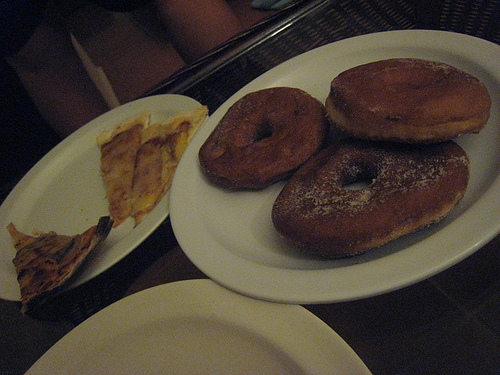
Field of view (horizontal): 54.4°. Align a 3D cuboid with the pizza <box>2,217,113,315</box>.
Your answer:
[{"bbox_3d":[-0.482,0.141,1.225,0.240,0.034,0.280,-31,53,-4],"label":"pizza"}]

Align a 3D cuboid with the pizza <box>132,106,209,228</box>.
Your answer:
[{"bbox_3d":[-0.223,-0.027,1.433,0.249,0.050,0.499,-13,53,26],"label":"pizza"}]

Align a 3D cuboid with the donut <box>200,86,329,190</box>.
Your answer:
[{"bbox_3d":[0.062,-0.061,1.338,0.310,0.086,0.275,-38,42,-11],"label":"donut"}]

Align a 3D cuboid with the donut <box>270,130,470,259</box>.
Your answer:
[{"bbox_3d":[0.272,0.015,1.120,0.399,0.078,0.345,14,62,25],"label":"donut"}]
